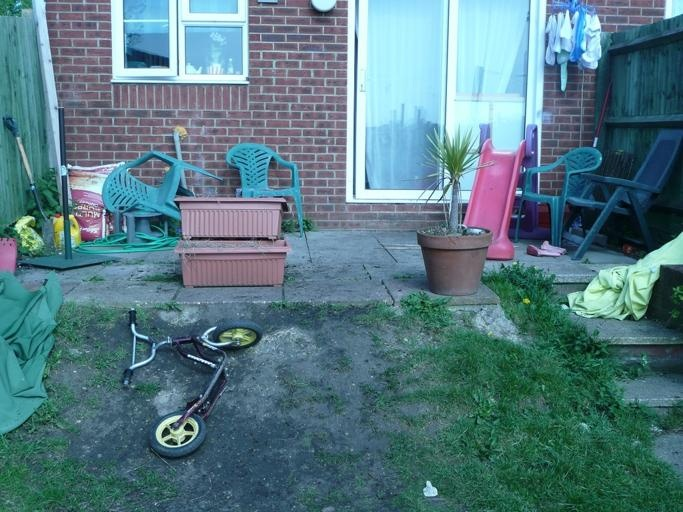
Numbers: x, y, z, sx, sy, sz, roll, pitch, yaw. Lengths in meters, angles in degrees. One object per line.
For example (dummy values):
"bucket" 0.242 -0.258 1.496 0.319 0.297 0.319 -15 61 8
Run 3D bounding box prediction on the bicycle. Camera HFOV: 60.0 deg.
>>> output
"bicycle" -1.021 1.008 4.192 0.370 1.397 1.388 25 47 -8

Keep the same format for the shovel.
"shovel" -3.495 -0.806 6.570 0.238 1.615 0.180 -20 12 -33

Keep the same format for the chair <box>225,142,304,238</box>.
"chair" -0.921 -0.845 7.313 0.931 1.024 0.911 -1 8 -22

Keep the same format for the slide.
"slide" 1.630 -0.625 6.217 0.564 1.527 0.220 1 -22 36

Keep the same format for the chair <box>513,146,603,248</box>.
"chair" 2.459 -0.721 6.643 0.749 1.032 0.768 -4 10 -14

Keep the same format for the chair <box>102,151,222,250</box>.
"chair" -2.013 -0.662 6.759 1.180 0.866 0.495 -1 -24 -13
